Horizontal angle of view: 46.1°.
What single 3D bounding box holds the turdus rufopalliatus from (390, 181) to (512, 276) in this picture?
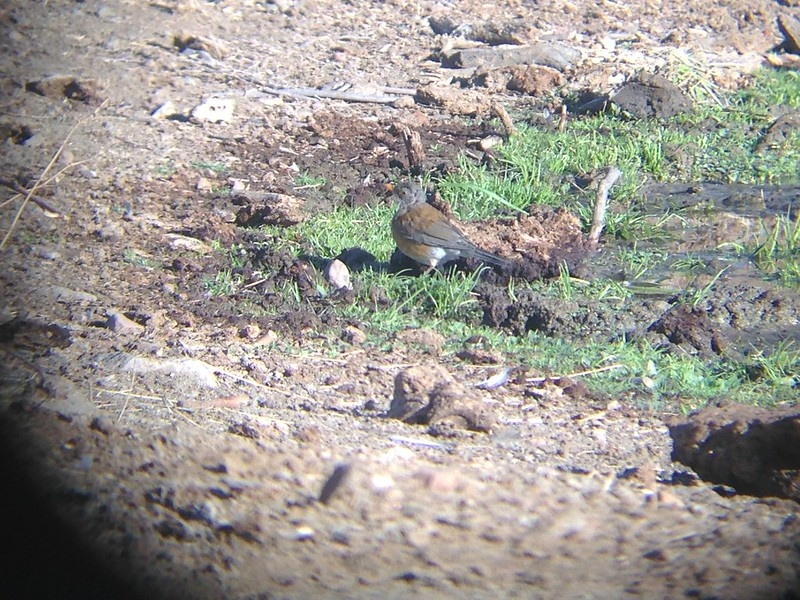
[{"bbox_3d":[0.244,-0.311,4.217,0.614,0.366,0.256,11,16,35],"label":"turdus rufopalliatus"}]
